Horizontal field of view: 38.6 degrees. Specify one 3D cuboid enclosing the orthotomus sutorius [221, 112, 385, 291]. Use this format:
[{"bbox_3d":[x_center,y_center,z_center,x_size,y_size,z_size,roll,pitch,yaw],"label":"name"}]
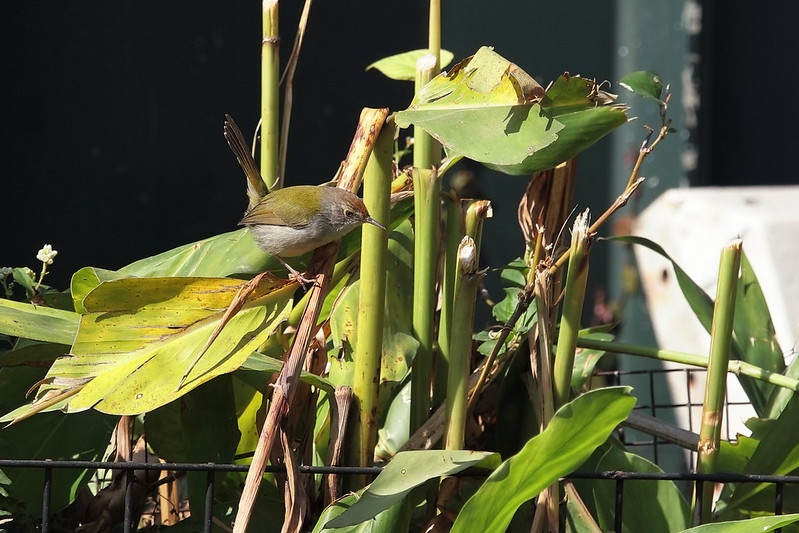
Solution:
[{"bbox_3d":[-0.206,-0.120,2.369,0.388,0.286,0.128,17,15,19],"label":"orthotomus sutorius"}]
